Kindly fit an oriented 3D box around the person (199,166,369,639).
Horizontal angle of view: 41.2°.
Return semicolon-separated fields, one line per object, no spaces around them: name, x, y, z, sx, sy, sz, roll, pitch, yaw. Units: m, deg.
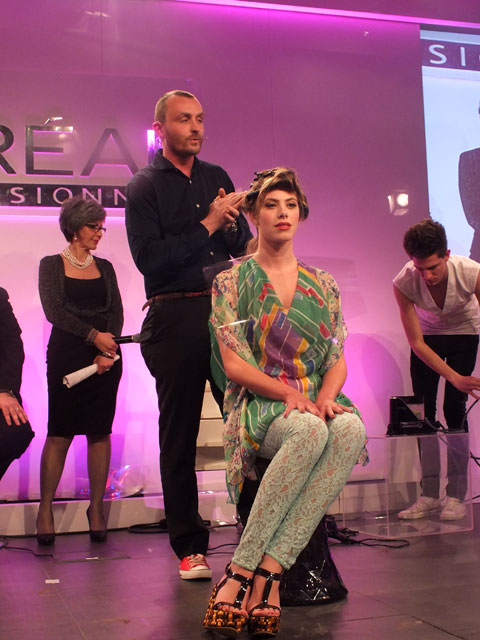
person;0.114;0.206;1.542;0.382;0.916;0.539;0;0;-2

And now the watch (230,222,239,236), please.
watch;-0.017;-0.318;2.160;0.010;0.025;0.028;0;16;46

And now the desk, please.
desk;0.720;0.692;2.857;0.507;0.336;0.481;5;-7;-37

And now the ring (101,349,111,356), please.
ring;-0.604;0.144;2.900;0.015;0.018;0.047;37;17;34

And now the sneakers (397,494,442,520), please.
sneakers;0.774;0.805;2.771;0.252;0.091;0.079;-1;-5;-27

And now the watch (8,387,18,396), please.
watch;-0.726;0.231;2.047;0.015;0.016;0.019;-3;-38;-6

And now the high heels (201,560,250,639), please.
high heels;-0.027;0.580;1.324;0.087;0.117;0.115;0;-1;14

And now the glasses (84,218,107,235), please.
glasses;-0.697;-0.447;3.057;0.105;0.031;0.093;-2;-4;34

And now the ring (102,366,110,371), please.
ring;-0.608;0.219;2.904;0.019;0.021;0.024;-5;1;5

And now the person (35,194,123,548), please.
person;-0.739;0.173;2.922;0.488;1.532;0.364;1;-1;-40

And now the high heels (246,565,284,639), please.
high heels;0.052;0.584;1.329;0.069;0.117;0.072;0;0;1
